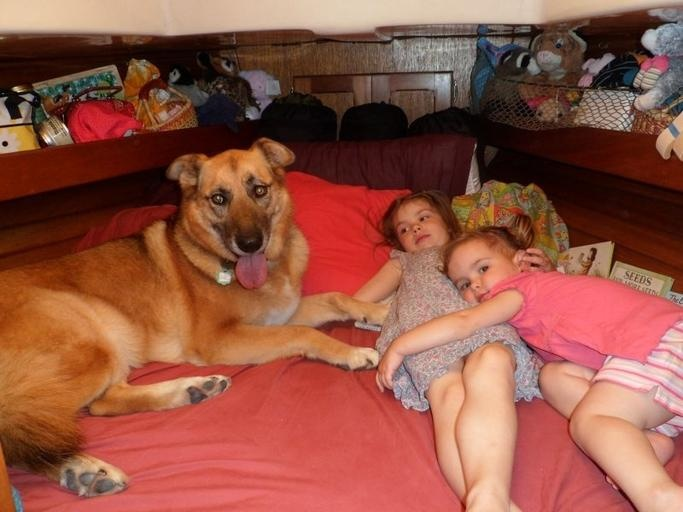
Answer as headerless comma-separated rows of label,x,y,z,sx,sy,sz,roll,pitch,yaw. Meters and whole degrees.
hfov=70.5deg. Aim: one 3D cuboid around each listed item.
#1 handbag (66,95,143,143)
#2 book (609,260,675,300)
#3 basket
handbag,-1.369,-0.796,2.820,0.106,0.281,0.359,-31,0,42
book,1.376,0.109,2.182,0.142,0.020,0.199,-44,44,-21
basket,-1.194,-0.993,3.247,0.371,0.308,0.329,-15,36,-19
